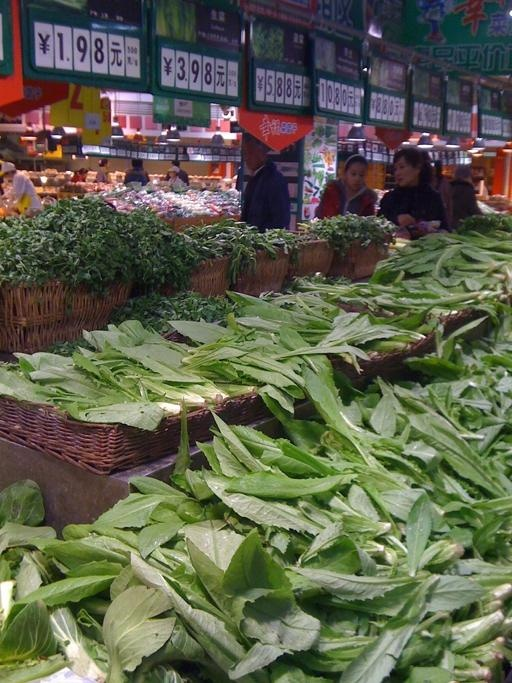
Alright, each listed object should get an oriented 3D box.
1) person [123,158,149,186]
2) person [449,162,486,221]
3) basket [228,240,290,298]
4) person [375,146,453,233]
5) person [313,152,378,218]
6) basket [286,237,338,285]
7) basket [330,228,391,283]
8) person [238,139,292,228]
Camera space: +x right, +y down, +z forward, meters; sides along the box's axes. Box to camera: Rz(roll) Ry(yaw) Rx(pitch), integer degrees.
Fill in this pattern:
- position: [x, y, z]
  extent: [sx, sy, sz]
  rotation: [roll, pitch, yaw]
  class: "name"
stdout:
- position: [-3.176, -4.546, 13.478]
  extent: [0.545, 0.849, 1.095]
  rotation: [-1, 6, -18]
  class: "person"
- position: [2.920, -2.065, 7.088]
  extent: [0.384, 0.893, 0.671]
  rotation: [5, 7, 34]
  class: "person"
- position: [0.045, -0.445, 3.211]
  extent: [0.152, 0.305, 0.534]
  rotation: [5, 6, 28]
  class: "basket"
- position: [1.764, -1.588, 5.588]
  extent: [0.689, 1.128, 2.307]
  rotation: [3, 6, 19]
  class: "person"
- position: [1.004, -1.699, 5.640]
  extent: [0.623, 0.696, 0.581]
  rotation: [4, 6, 25]
  class: "person"
- position: [0.423, -0.595, 3.692]
  extent: [0.117, 0.309, 0.694]
  rotation: [5, 6, 28]
  class: "basket"
- position: [0.875, -0.689, 4.220]
  extent: [0.215, 0.378, 0.878]
  rotation: [5, 7, 34]
  class: "basket"
- position: [0.077, -1.632, 5.306]
  extent: [0.541, 0.946, 0.392]
  rotation: [3, 6, 20]
  class: "person"
